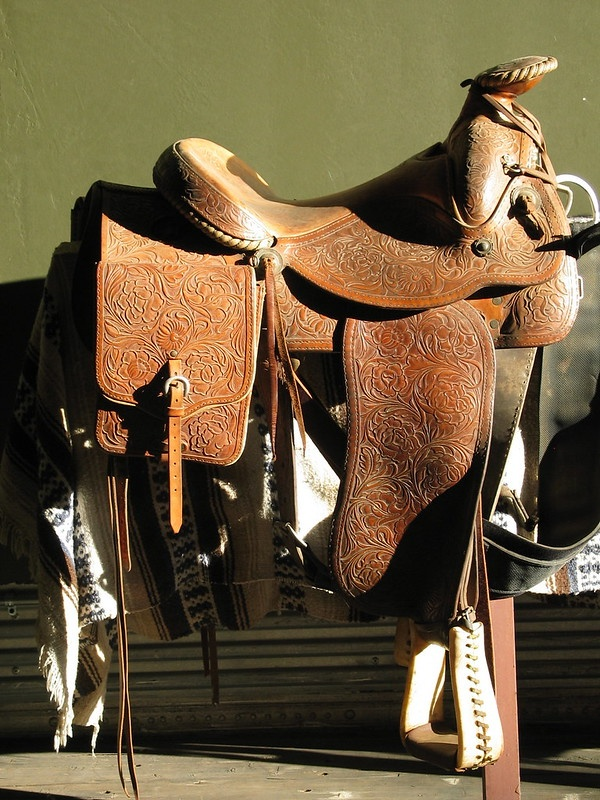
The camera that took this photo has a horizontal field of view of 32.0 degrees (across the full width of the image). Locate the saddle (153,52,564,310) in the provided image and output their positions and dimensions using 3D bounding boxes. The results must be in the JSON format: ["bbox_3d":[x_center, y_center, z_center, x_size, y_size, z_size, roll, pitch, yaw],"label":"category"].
[{"bbox_3d":[0.098,-0.370,1.681,0.656,0.310,0.415,-1,31,2],"label":"saddle"}]

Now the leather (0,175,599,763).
[{"bbox_3d":[-0.143,0.143,2.018,1.132,0.898,0.308,-1,-11,-2],"label":"leather"}]

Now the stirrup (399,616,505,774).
[{"bbox_3d":[0.210,0.417,1.560,0.114,0.229,0.185,-5,12,-18],"label":"stirrup"}]

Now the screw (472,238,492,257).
[{"bbox_3d":[0.270,-0.224,1.560,0.034,0.028,0.010,1,0,7],"label":"screw"}]
